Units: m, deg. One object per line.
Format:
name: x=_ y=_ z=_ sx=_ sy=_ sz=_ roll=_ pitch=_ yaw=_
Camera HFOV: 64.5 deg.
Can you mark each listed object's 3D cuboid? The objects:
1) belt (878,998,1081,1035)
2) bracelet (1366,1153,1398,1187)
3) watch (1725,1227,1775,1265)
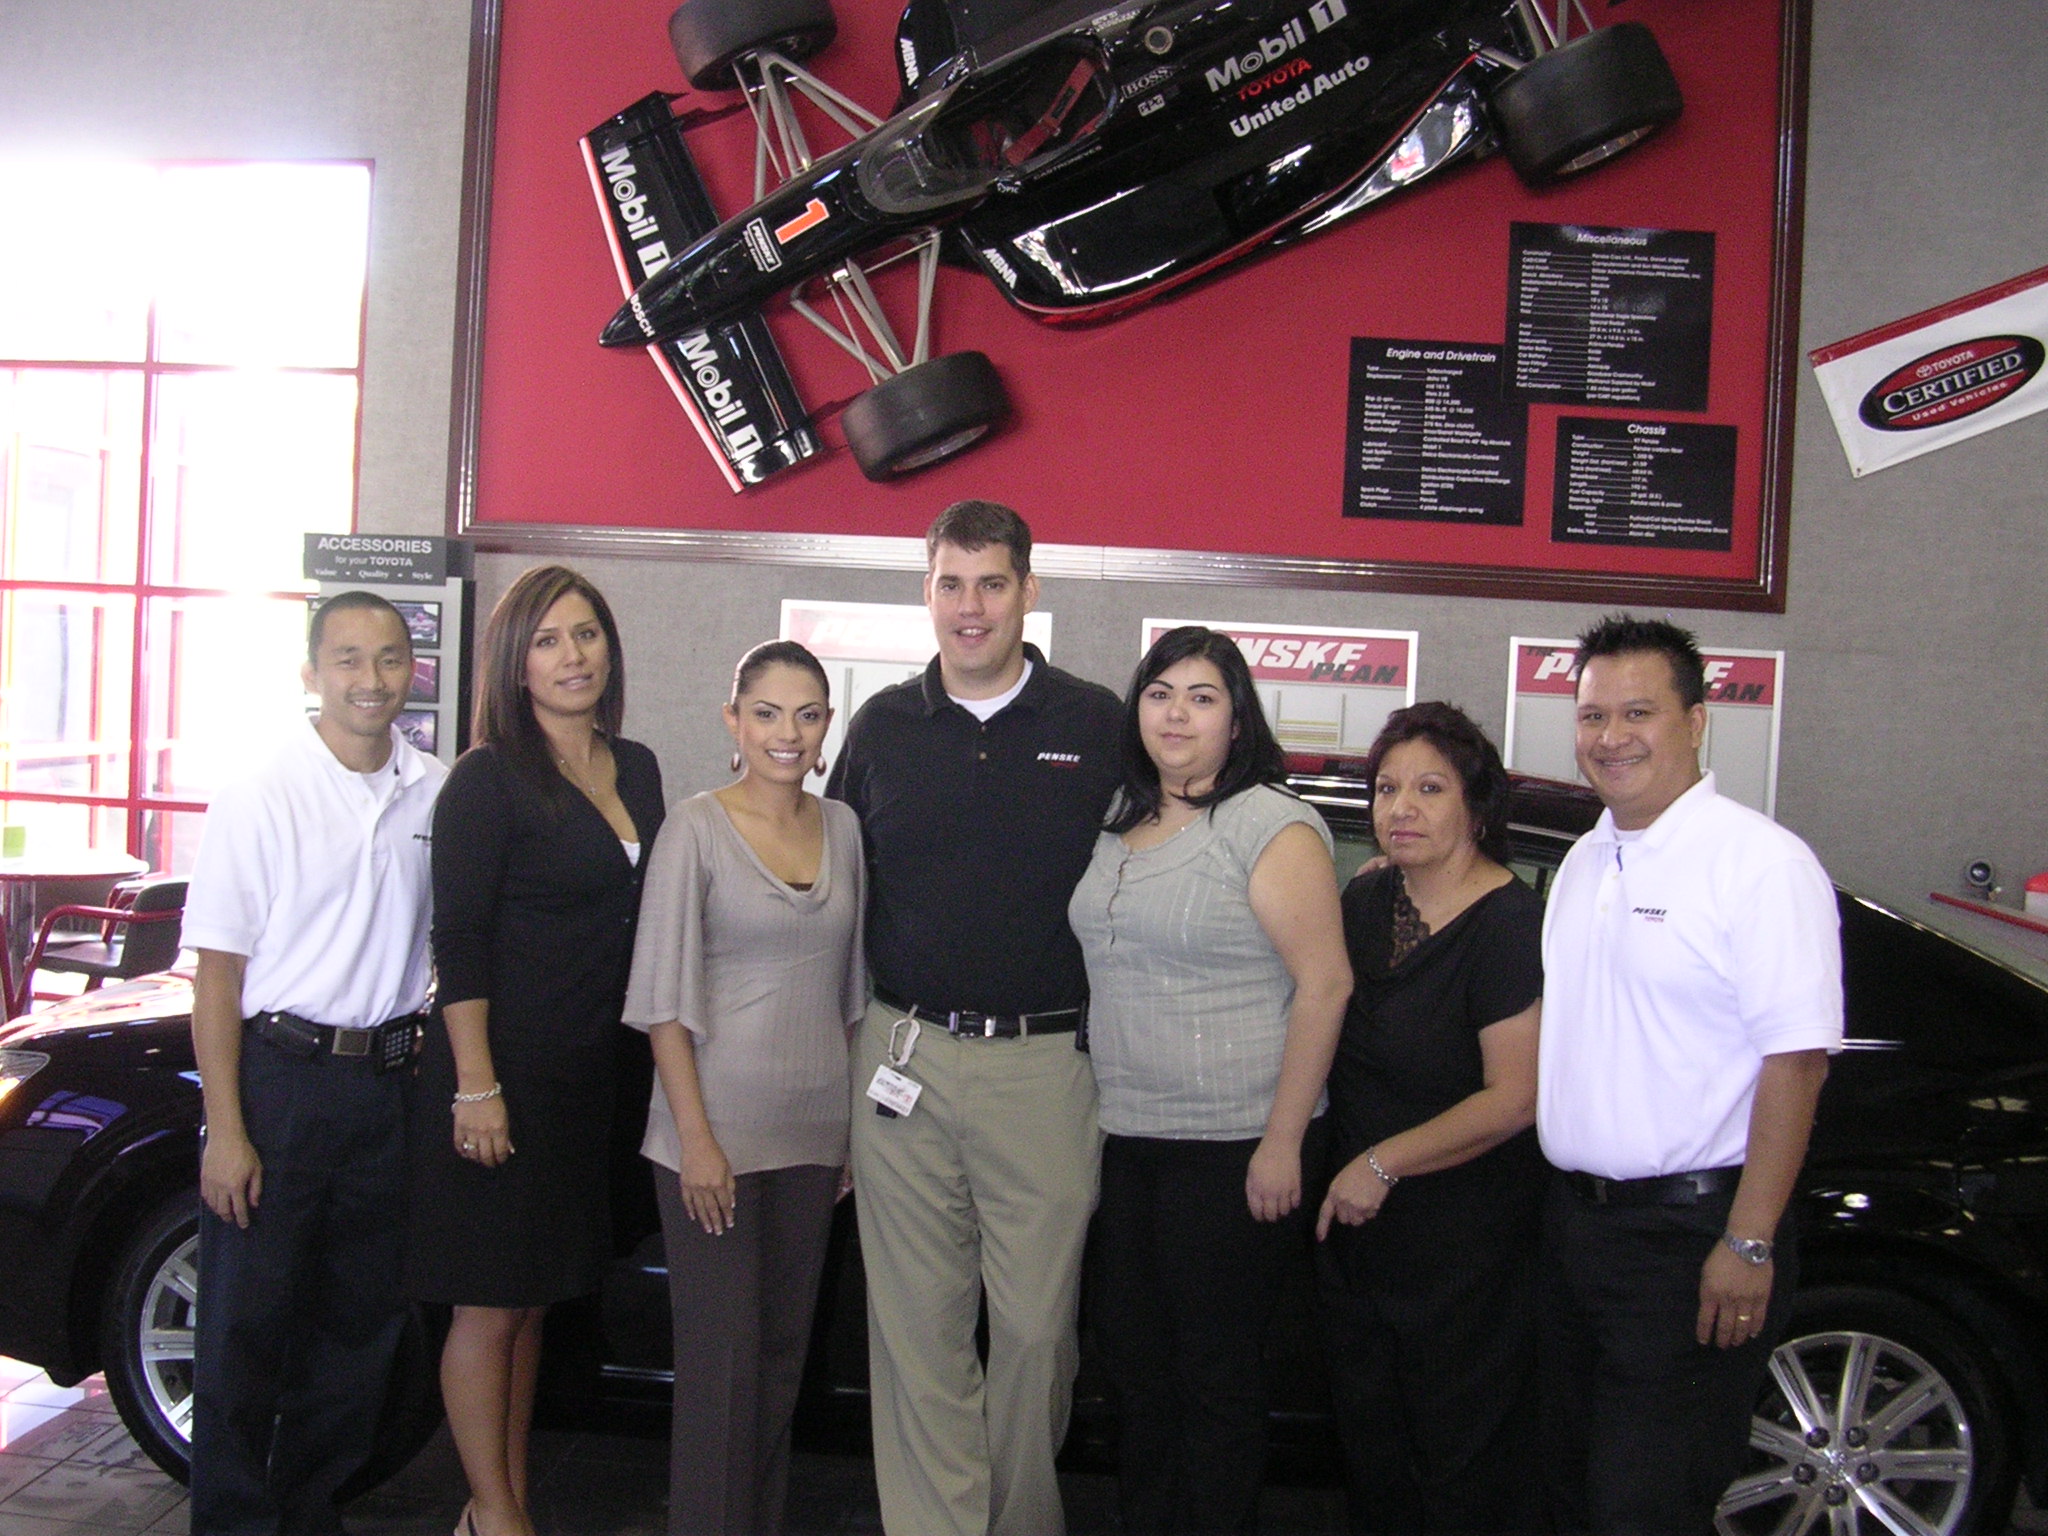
belt: x=-0.068 y=0.490 z=3.174 sx=0.367 sy=0.061 sz=0.055 roll=2 pitch=3 yaw=5
bracelet: x=0.647 y=0.720 z=2.929 sx=0.026 sy=0.060 sz=0.048 roll=-38 pitch=6 yaw=-19
watch: x=1.197 y=0.782 z=2.668 sx=0.056 sy=0.032 sz=0.055 roll=22 pitch=-13 yaw=-5
